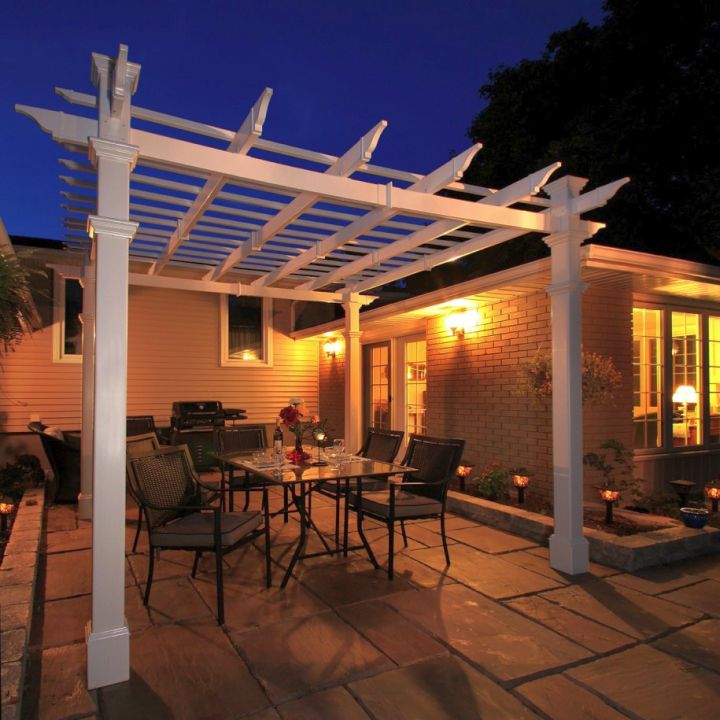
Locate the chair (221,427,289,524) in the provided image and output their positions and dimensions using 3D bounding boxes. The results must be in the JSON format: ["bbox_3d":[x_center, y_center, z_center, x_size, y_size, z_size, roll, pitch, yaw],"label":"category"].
[{"bbox_3d":[-1.072,1.107,6.300,0.548,0.708,0.458,-9,-1,2],"label":"chair"}]

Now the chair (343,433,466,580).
[{"bbox_3d":[0.357,1.144,5.495,1.024,0.877,0.952,-2,0,19],"label":"chair"}]

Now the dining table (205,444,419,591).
[{"bbox_3d":[-0.442,1.061,5.435,0.976,0.729,1.659,3,-5,-26],"label":"dining table"}]

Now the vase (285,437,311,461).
[{"bbox_3d":[-0.506,0.779,5.709,0.203,0.250,0.199,6,-12,-43],"label":"vase"}]

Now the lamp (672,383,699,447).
[{"bbox_3d":[3.765,0.648,7.640,0.288,0.770,0.865,3,7,27],"label":"lamp"}]

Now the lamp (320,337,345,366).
[{"bbox_3d":[-0.442,-0.164,11.146,0.168,0.286,0.521,-2,0,-28],"label":"lamp"}]

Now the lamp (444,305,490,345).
[{"bbox_3d":[1.282,-0.446,8.134,0.178,0.435,0.860,-3,6,-15],"label":"lamp"}]

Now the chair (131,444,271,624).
[{"bbox_3d":[-1.172,1.171,4.775,0.864,1.061,1.377,-2,6,-12],"label":"chair"}]
